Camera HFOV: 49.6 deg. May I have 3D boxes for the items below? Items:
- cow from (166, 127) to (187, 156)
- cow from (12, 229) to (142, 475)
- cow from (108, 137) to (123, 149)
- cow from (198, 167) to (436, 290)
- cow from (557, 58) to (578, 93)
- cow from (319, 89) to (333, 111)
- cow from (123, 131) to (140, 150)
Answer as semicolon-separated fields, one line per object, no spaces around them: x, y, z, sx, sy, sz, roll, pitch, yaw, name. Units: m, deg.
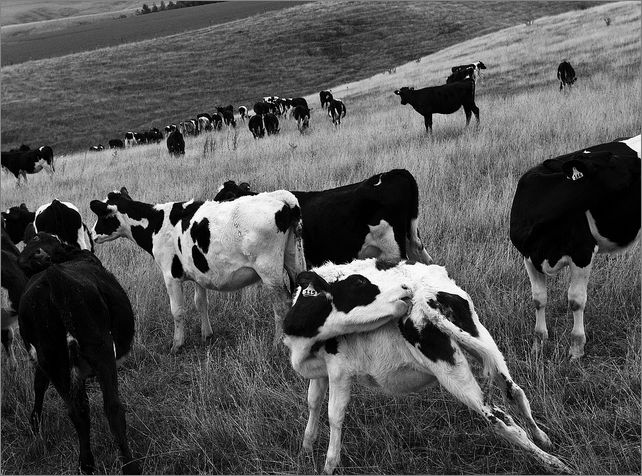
-5.281;-3.457;25.178;0.577;0.819;1.822;-10;16;-12;cow
-2.926;1.434;8.561;1.140;2.749;1.817;-18;18;-41;cow
-10.376;-4.790;35.338;0.748;0.424;2.732;-12;17;-14;cow
-0.027;-0.295;11.460;3.702;2.418;1.335;1;1;14;cow
8.104;-5.440;22.978;0.605;0.816;1.766;-1;17;21;cow
0.226;-7.262;36.653;0.805;1.077;1.823;-2;15;-8;cow
-9.739;-5.014;35.841;0.574;1.015;1.737;-2;17;-15;cow
